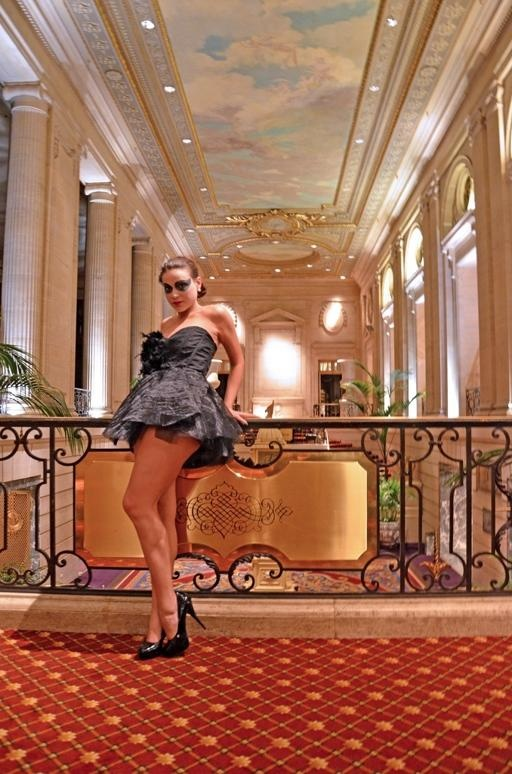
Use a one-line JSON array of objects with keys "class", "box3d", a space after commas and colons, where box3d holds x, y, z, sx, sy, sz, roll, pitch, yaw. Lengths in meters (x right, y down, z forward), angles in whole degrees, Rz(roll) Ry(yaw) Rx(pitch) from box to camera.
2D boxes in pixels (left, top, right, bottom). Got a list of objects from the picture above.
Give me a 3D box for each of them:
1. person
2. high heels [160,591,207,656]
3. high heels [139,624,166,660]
[{"class": "person", "box3d": [-0.316, 0.227, 2.224, 0.486, 1.604, 0.575, 0, -2, 15]}, {"class": "high heels", "box3d": [-0.304, 0.922, 2.141, 0.128, 0.223, 0.196, 1, -2, -7]}, {"class": "high heels", "box3d": [-0.392, 0.975, 2.074, 0.118, 0.078, 0.223, -4, -18, 2]}]
